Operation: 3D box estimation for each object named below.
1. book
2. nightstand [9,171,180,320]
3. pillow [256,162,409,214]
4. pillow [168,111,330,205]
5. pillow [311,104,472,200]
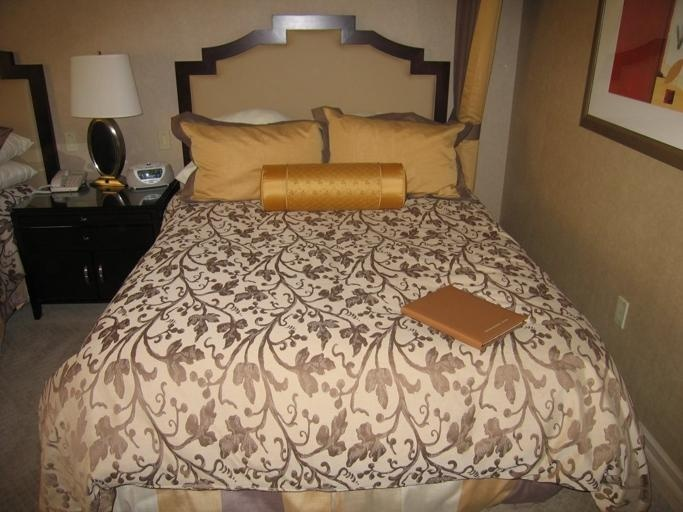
[{"bbox_3d":[0.466,0.227,1.906,0.233,0.031,0.277,-23,34,-37],"label":"book"},{"bbox_3d":[-1.600,-0.055,3.406,0.816,0.725,0.573,-2,22,-10],"label":"nightstand"},{"bbox_3d":[-0.039,-0.391,2.879,0.788,0.301,0.322,-1,-5,-4],"label":"pillow"},{"bbox_3d":[-0.515,-0.563,2.932,0.624,0.412,0.204,-3,-4,-6],"label":"pillow"},{"bbox_3d":[0.292,-0.588,2.950,0.621,0.426,0.199,3,-25,-2],"label":"pillow"}]
